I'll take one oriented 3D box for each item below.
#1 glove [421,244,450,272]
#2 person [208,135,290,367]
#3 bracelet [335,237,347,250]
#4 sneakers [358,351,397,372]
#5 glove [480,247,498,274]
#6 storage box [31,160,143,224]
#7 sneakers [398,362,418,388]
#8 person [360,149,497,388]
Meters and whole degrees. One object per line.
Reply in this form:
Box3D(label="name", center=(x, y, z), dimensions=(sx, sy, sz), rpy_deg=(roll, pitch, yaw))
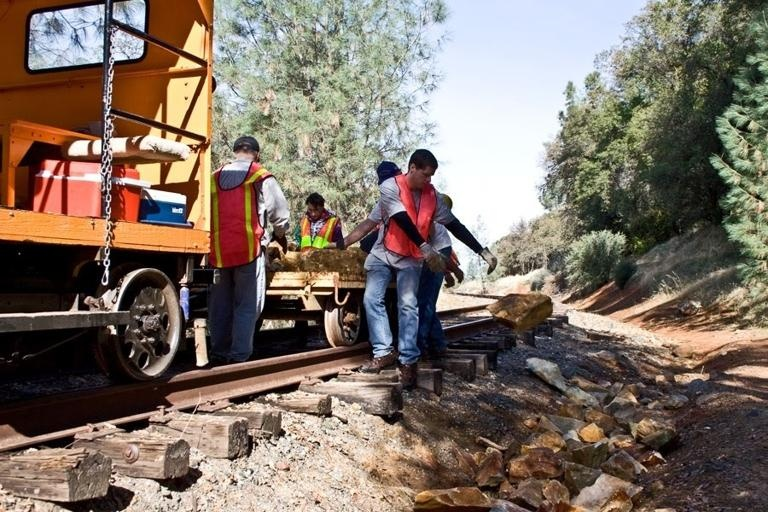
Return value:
Box3D(label="glove", center=(0.617, 0.036, 6.061), dimensions=(0.374, 0.194, 0.277), rpy_deg=(42, -6, 0))
Box3D(label="person", center=(-1.753, -0.129, 6.023), dimensions=(0.970, 2.820, 0.621), rpy_deg=(0, -1, -14))
Box3D(label="bracelet", center=(-0.604, -0.169, 6.619), dimensions=(0.129, 0.134, 0.136), rpy_deg=(-1, -13, 11))
Box3D(label="sneakers", center=(-0.092, 1.401, 6.355), dimensions=(0.577, 0.275, 0.207), rpy_deg=(-6, 1, -23))
Box3D(label="glove", center=(1.500, 0.040, 6.720), dimensions=(0.097, 0.369, 0.254), rpy_deg=(-17, -33, -33))
Box3D(label="storage box", center=(-2.827, -0.597, 4.496), dimensions=(0.612, 0.564, 0.843), rpy_deg=(5, -3, 45))
Box3D(label="sneakers", center=(0.293, 1.512, 6.163), dimensions=(0.202, 0.400, 0.285), rpy_deg=(-7, -8, 42))
Box3D(label="person", center=(0.360, 0.162, 6.362), dimensions=(1.398, 3.012, 0.983), rpy_deg=(0, -1, -6))
